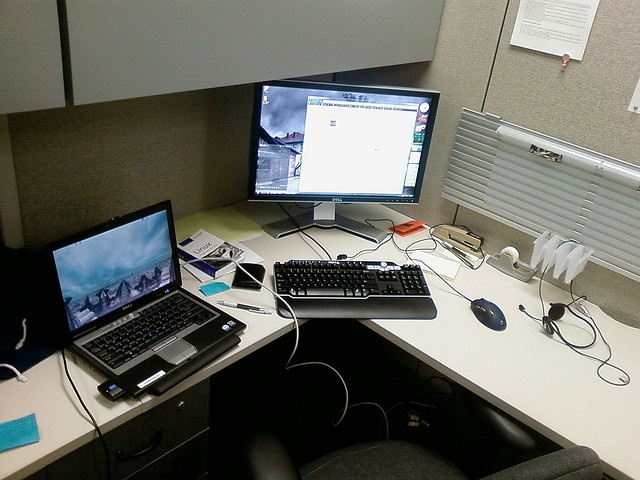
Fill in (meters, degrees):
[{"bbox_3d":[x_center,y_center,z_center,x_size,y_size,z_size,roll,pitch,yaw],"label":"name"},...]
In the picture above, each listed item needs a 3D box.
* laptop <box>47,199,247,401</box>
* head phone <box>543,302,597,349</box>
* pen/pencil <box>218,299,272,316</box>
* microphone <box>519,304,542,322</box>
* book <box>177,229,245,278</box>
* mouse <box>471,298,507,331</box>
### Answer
[{"bbox_3d":[-0.419,0.137,1.217,0.380,0.339,0.357,29,36,36],"label":"laptop"},{"bbox_3d":[0.713,0.265,1.496,0.128,0.048,0.151,-29,55,-32],"label":"head phone"},{"bbox_3d":[-0.219,0.193,1.407,0.185,0.016,0.018,8,-13,1],"label":"pen/pencil"},{"bbox_3d":[0.638,0.227,1.531,0.025,0.012,0.117,-7,20,-12],"label":"microphone"},{"bbox_3d":[-0.360,0.040,1.556,0.177,0.034,0.127,26,42,30],"label":"book"},{"bbox_3d":[0.495,0.219,1.477,0.068,0.032,0.110,-36,61,-29],"label":"mouse"}]
